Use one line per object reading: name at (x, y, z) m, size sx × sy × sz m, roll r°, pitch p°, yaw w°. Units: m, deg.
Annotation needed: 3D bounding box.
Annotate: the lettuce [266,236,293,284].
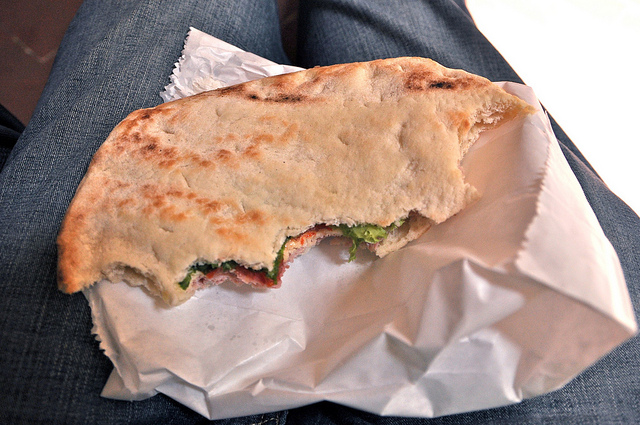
lettuce at (-0.191, 0.220, 3.034) m, size 0.047 × 0.184 × 0.189 m, roll 18°, pitch 82°, yaw 14°
